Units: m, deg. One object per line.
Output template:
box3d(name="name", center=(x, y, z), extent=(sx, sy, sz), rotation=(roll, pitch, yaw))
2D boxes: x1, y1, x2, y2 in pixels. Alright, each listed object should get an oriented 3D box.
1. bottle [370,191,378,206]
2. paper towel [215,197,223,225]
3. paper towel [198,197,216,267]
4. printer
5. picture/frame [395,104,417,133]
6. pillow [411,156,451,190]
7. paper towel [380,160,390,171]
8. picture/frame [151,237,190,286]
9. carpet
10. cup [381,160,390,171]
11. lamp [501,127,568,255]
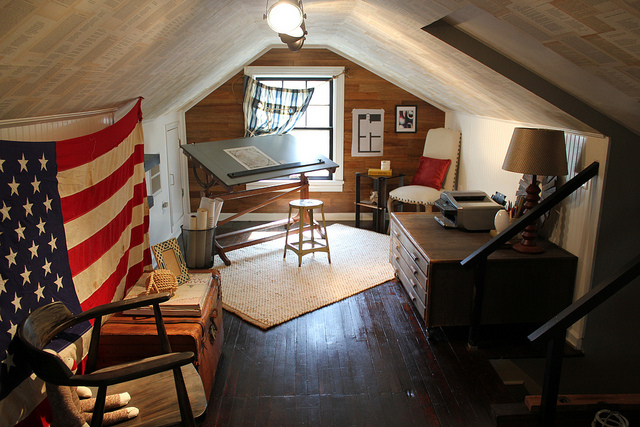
box3d(name="bottle", center=(0.710, -0.215, 6.071), extent=(0.059, 0.148, 0.151), rotation=(-1, 5, -14))
box3d(name="paper towel", center=(-1.037, -0.011, 4.642), extent=(0.072, 0.282, 0.442), rotation=(0, 9, -12))
box3d(name="paper towel", center=(-1.036, 0.163, 4.351), extent=(0.112, 0.442, 0.130), rotation=(-17, -12, 8))
box3d(name="printer", center=(1.301, -0.031, 3.934), extent=(0.495, 0.208, 0.356), rotation=(-1, 24, 5))
box3d(name="picture/frame", center=(1.132, -1.279, 6.062), extent=(0.352, 0.413, 0.017), rotation=(0, 11, -4))
box3d(name="pillow", center=(1.374, -0.518, 5.676), extent=(0.135, 0.403, 0.442), rotation=(23, -4, -41))
box3d(name="paper towel", center=(0.852, -0.623, 5.953), extent=(0.144, 0.141, 0.142), rotation=(3, 5, -5))
box3d(name="picture/frame", center=(-1.075, 0.345, 3.290), extent=(0.029, 0.382, 0.290), rotation=(-26, -3, 39))
box3d(name="carpet", center=(-0.152, 0.569, 4.793), extent=(1.636, 0.396, 2.184), rotation=(11, 12, 44))
box3d(name="cup", center=(0.866, -0.622, 5.954), extent=(0.144, 0.141, 0.142), rotation=(3, 4, 0))
box3d(name="lamp", center=(1.640, -0.189, 3.484), extent=(0.413, 0.936, 0.489), rotation=(10, 12, 41))
